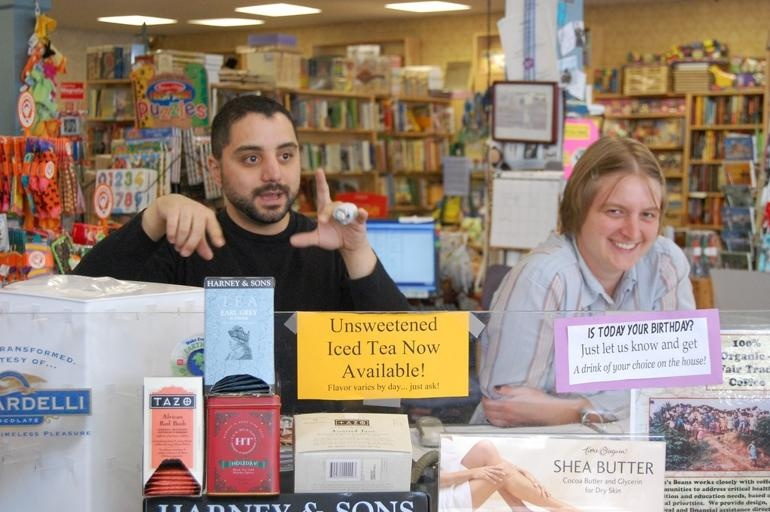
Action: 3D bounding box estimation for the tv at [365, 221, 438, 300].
[{"bbox_3d":[0.112,0.001,5.936,0.648,0.684,0.487,0,1,-6],"label":"tv"}]

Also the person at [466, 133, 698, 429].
[{"bbox_3d":[0.524,-0.010,1.983,0.511,0.667,1.090,1,3,22],"label":"person"}]

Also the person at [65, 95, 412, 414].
[{"bbox_3d":[-0.351,-0.148,2.177,0.890,0.664,0.720,3,4,41],"label":"person"}]

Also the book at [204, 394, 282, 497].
[{"bbox_3d":[-0.273,0.361,1.465,0.167,0.253,0.136,1,3,0],"label":"book"}]
